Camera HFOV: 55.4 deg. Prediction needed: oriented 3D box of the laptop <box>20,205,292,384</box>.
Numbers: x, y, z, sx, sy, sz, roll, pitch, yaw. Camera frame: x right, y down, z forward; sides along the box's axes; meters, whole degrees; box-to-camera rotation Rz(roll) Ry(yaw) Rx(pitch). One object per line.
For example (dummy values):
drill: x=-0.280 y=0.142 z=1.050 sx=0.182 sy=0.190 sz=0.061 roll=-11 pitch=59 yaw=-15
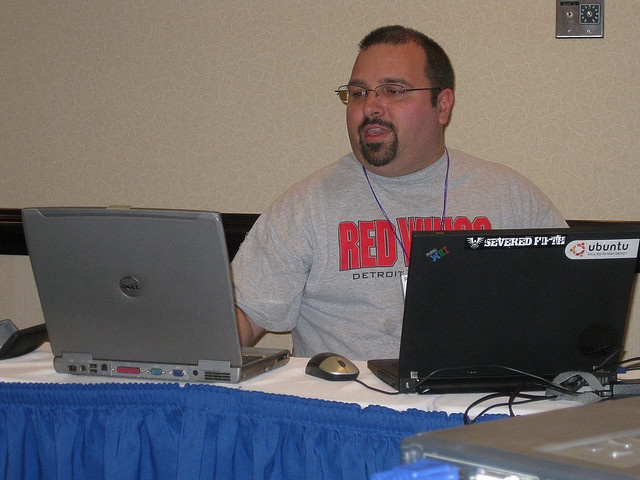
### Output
laptop: x=-0.409 y=0.117 z=1.478 sx=0.465 sy=0.390 sz=0.432 roll=1 pitch=0 yaw=19

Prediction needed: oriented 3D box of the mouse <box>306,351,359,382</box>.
mouse: x=0.034 y=0.309 z=1.501 sx=0.062 sy=0.037 sz=0.099 roll=1 pitch=-3 yaw=-44

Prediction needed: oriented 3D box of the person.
person: x=0.294 y=-0.187 z=1.971 sx=1.186 sy=1.132 sz=0.652 roll=-2 pitch=-6 yaw=15
